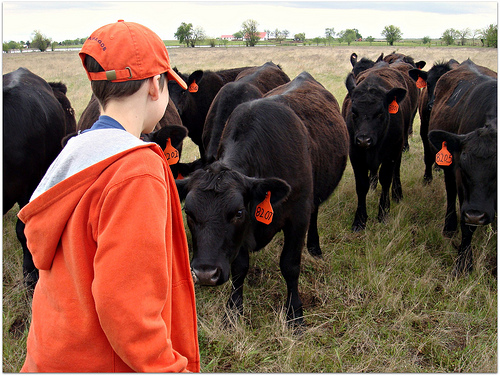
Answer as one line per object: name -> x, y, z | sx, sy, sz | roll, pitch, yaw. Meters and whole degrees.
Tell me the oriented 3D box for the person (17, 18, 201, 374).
person -> -0.822, 0.130, 2.518 | 0.958, 2.094, 0.665 | -3, 12, -9
